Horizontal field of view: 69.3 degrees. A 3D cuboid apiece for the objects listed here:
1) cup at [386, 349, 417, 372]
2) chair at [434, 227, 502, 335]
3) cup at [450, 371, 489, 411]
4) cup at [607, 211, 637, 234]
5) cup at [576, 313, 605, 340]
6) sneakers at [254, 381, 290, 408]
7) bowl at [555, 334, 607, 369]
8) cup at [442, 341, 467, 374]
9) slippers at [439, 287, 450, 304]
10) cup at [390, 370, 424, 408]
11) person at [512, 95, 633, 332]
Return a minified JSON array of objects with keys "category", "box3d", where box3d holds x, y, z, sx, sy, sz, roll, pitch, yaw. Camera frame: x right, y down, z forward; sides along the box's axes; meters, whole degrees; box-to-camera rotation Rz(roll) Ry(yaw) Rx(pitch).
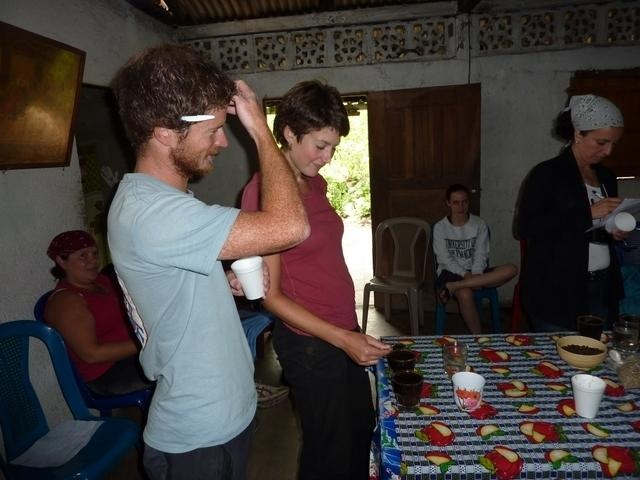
[{"category":"cup","box3d":[0.361,0.525,2.026,0.088,0.073,0.097,0,4,0]},{"category":"chair","box3d":[1.333,0.270,4.002,0.673,0.974,0.541,-3,3,13]},{"category":"cup","box3d":[0.602,0.603,1.879,0.133,0.125,0.140,0,-1,0]},{"category":"cup","box3d":[1.578,-0.090,2.430,0.104,0.131,0.098,-3,-8,0]},{"category":"cup","box3d":[1.308,0.416,2.252,0.107,0.118,0.118,-4,2,21]},{"category":"sneakers","box3d":[-0.353,1.125,3.407,0.261,0.133,0.360,5,1,-24]},{"category":"bowl","box3d":[1.213,0.531,2.151,0.193,0.092,0.188,-4,13,1]},{"category":"cup","box3d":[0.595,0.533,2.114,0.114,0.129,0.124,0,-1,0]},{"category":"slippers","box3d":[1.050,0.467,3.884,0.106,0.134,0.074,-4,3,-7]},{"category":"cup","box3d":[0.354,0.601,1.875,0.125,0.107,0.131,-2,-7,0]},{"category":"person","box3d":[1.399,-0.138,2.604,0.545,1.329,0.425,-2,3,20]}]
